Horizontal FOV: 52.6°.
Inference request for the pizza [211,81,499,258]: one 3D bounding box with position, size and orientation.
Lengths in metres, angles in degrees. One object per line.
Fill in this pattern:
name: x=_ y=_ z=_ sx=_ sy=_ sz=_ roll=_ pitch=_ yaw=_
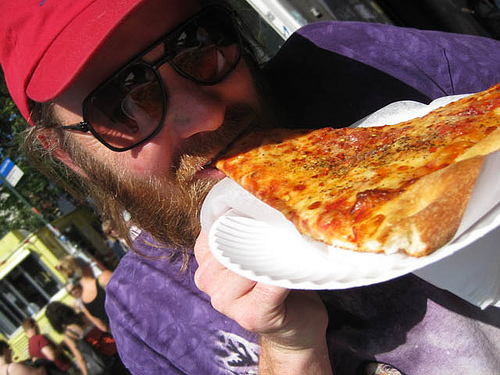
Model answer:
pizza: x=0.550 y=-0.050 z=2.646 sx=1.297 sy=0.288 sz=0.886 roll=17 pitch=50 yaw=46
